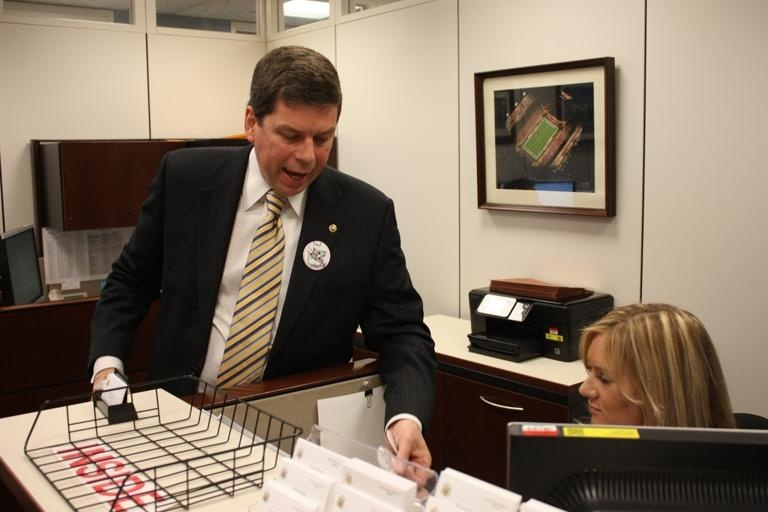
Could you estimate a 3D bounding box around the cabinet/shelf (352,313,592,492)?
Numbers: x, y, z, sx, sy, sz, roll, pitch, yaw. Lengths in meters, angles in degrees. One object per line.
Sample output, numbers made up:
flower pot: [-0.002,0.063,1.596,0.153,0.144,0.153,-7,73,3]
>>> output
cabinet/shelf: [0.475,0.784,3.107,1.021,0.926,0.528,14,35,19]

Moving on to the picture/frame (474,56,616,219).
picture/frame: [0.924,-0.685,3.041,0.961,0.906,0.104,4,7,44]

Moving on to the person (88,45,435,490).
person: [-0.391,-0.098,1.812,1.196,1.174,0.595,5,8,8]

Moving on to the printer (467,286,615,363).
printer: [0.768,0.363,2.800,0.463,0.226,0.462,3,6,45]

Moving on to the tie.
tie: [-0.426,0.106,1.836,0.119,0.651,0.224,9,9,34]
